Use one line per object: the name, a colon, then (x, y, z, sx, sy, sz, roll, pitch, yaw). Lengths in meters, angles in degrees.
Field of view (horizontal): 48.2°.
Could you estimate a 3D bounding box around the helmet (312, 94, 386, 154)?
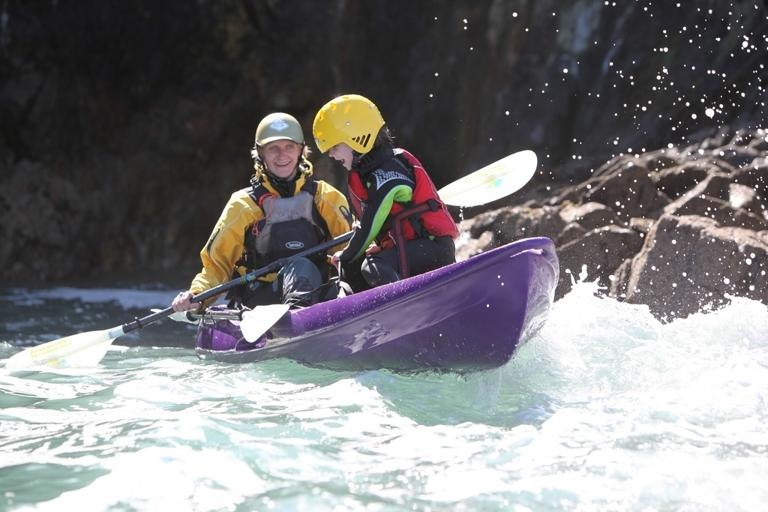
helmet: (-0.293, -1.080, 6.917, 0.581, 0.457, 0.406, -10, -13, -12)
